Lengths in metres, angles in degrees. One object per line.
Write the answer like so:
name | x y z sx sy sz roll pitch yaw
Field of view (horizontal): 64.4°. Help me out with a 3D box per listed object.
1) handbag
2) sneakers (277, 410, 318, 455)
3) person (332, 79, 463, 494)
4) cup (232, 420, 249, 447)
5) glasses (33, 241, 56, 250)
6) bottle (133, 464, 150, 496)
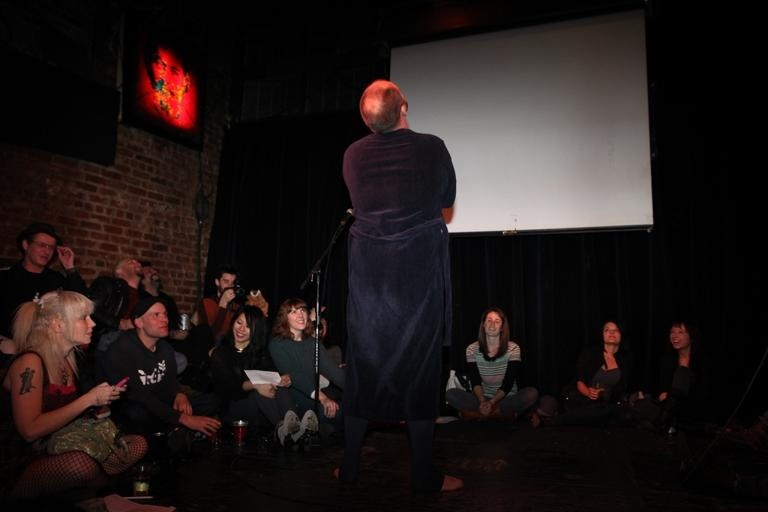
handbag | -1.937 1.164 3.950 0.321 0.102 0.326 9 5 -14
sneakers | -0.697 1.352 4.791 0.229 0.334 0.125 5 6 -6
person | 0.098 0.181 3.919 0.791 2.620 0.315 0 2 -4
cup | -1.202 1.434 4.978 0.136 0.208 0.138 -3 -14 -1
glasses | -3.011 -0.104 5.386 0.096 0.032 0.094 -13 -17 41
bottle | -1.606 1.471 4.016 0.123 0.167 0.141 0 -2 1
